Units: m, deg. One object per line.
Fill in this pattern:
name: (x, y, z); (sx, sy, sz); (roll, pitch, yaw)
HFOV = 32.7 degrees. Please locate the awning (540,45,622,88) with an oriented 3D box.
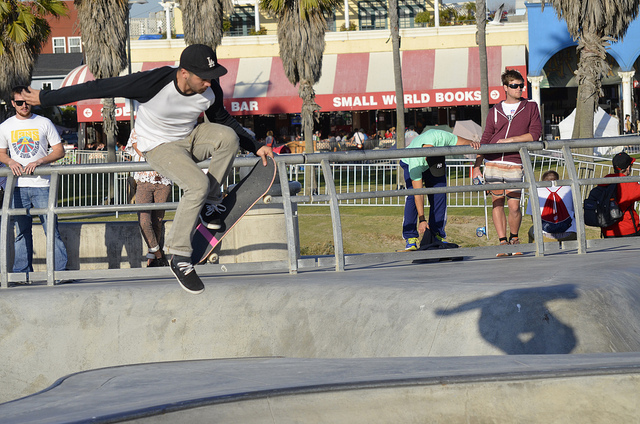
awning: (11.839, -6.672, 49.809); (3.773, 2.333, 0.062); (0, -26, 12)

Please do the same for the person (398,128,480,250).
person: (2.407, -0.528, 22.130); (1.151, 2.737, 1.470); (0, 0, -3)
